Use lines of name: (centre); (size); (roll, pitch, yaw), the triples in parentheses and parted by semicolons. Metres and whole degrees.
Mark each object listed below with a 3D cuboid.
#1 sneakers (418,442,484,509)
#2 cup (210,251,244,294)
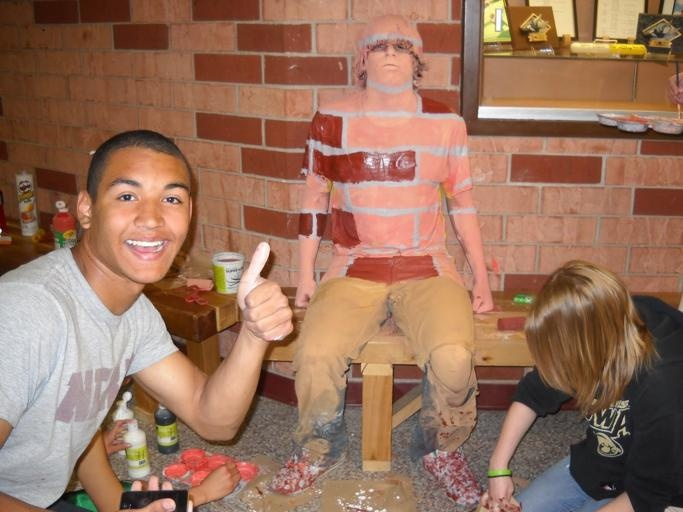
sneakers: (0.449, 0.876, 2.366); (0.259, 0.145, 0.105); (48, -2, 24)
cup: (-0.510, 0.075, 2.588); (0.147, 0.139, 0.152); (4, 19, -1)
